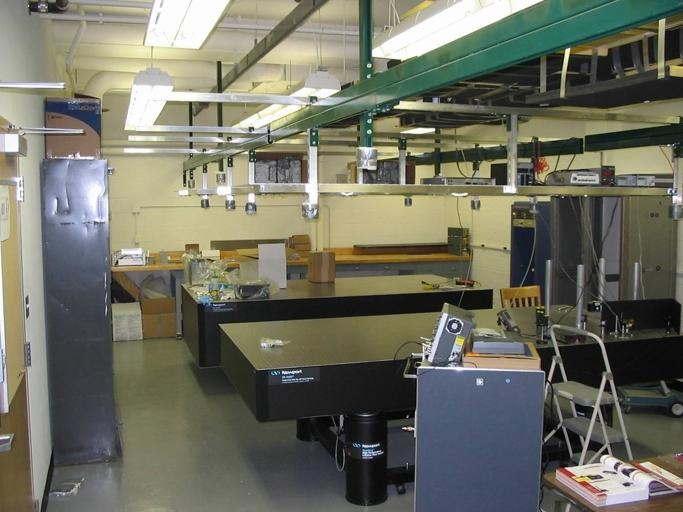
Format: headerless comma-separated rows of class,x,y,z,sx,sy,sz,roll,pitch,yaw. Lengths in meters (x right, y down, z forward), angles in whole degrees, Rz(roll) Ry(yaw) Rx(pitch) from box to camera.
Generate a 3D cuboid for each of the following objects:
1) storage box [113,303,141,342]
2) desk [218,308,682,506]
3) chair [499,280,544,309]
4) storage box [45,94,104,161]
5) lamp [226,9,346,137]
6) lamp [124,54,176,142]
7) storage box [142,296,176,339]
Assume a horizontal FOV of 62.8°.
storage box,-3.459,1.051,9.049,0.479,0.667,0.655,-1,4,-25
desk,1.061,1.194,5.396,4.173,1.216,1.731,-4,9,-20
chair,2.309,0.529,7.201,0.378,0.653,0.426,-1,1,-10
storage box,-2.394,-1.143,5.010,0.465,0.534,0.205,-6,10,-32
lamp,-0.388,-1.192,4.220,0.367,0.361,1.462,-4,9,-21
lamp,-1.329,-1.087,3.850,0.247,0.264,1.222,-4,9,-22
storage box,-2.969,1.001,9.271,0.525,0.685,1.001,-2,6,-17
